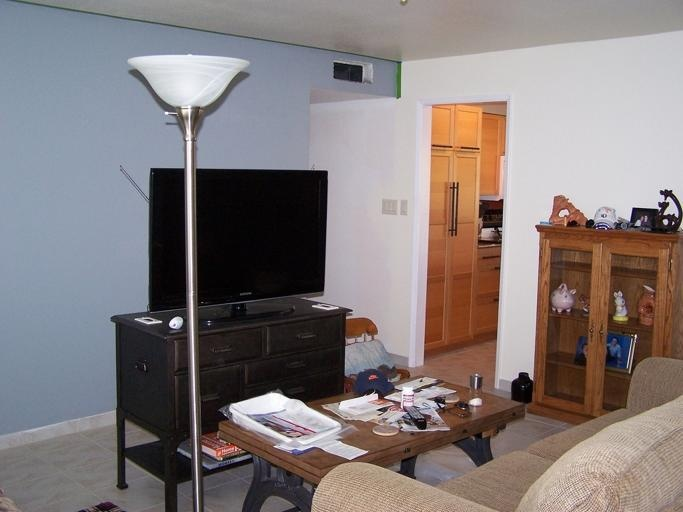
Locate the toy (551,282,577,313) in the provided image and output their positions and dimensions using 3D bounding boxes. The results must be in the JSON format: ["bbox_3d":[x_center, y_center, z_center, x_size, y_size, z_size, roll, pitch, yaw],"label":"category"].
[{"bbox_3d":[1.855,0.365,4.571,0.243,0.238,0.205,2,2,3],"label":"toy"}]

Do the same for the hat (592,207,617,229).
[{"bbox_3d":[2.107,-0.310,4.358,0.134,0.111,0.217,5,23,28],"label":"hat"}]

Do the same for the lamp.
[{"bbox_3d":[-0.603,0.124,2.208,0.457,1.831,0.274,-1,5,-10],"label":"lamp"}]

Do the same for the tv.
[{"bbox_3d":[-0.712,-0.075,3.633,1.142,0.774,0.115,-3,7,-36],"label":"tv"}]

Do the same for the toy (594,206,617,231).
[{"bbox_3d":[2.108,-0.302,4.340,0.177,0.178,0.232,2,5,24],"label":"toy"}]

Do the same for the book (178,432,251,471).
[{"bbox_3d":[-0.742,1.181,3.264,0.368,0.088,0.369,10,12,42],"label":"book"}]

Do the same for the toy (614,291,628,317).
[{"bbox_3d":[2.242,0.381,4.374,0.107,0.182,0.202,3,6,27],"label":"toy"}]

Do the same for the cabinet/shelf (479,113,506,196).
[{"bbox_3d":[1.953,-1.325,7.114,0.217,1.097,0.635,3,6,30],"label":"cabinet/shelf"}]
